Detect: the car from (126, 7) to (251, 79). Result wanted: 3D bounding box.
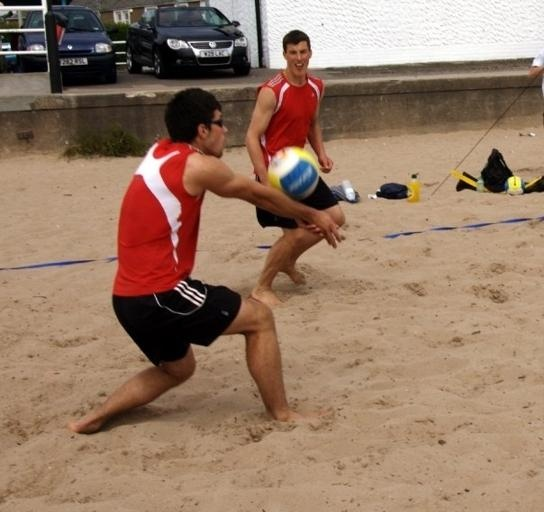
[{"bbox_3d":[-1.807,-4.133,15.532,1.324,0.772,2.637,-4,11,-23],"label":"car"}]

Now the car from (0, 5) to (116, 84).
[{"bbox_3d":[-3.421,-3.640,13.872,1.203,0.927,2.135,-5,13,-18],"label":"car"}]

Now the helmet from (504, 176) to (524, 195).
[{"bbox_3d":[2.641,-0.774,8.987,0.179,0.199,0.220,3,-10,6],"label":"helmet"}]

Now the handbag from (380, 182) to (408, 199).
[{"bbox_3d":[1.360,-0.729,9.211,0.326,0.149,0.360,-1,14,-5],"label":"handbag"}]

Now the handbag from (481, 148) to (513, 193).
[{"bbox_3d":[2.466,-0.961,9.161,0.234,0.347,0.509,3,46,-19],"label":"handbag"}]
